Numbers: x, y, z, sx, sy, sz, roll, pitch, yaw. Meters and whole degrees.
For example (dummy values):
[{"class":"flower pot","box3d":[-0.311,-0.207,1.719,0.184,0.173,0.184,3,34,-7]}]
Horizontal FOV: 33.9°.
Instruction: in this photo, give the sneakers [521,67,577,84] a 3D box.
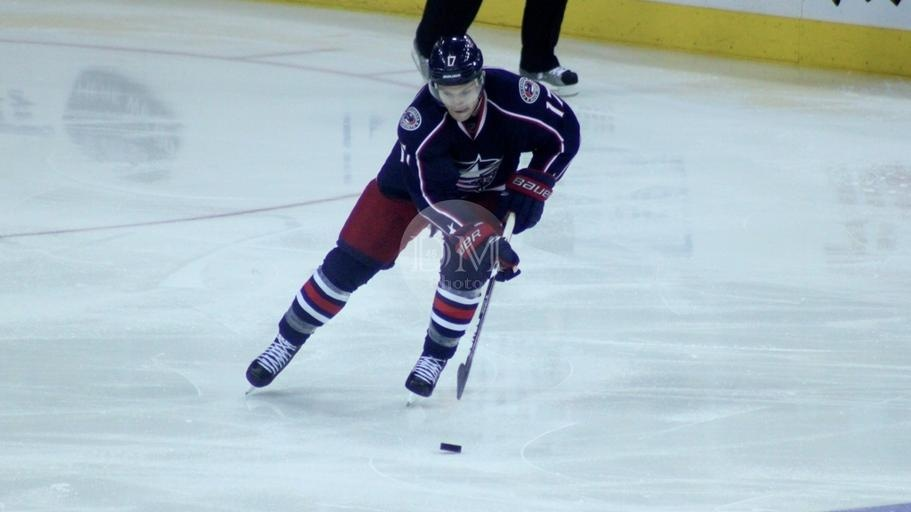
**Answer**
[{"class":"sneakers","box3d":[0.715,-1.380,11.501,0.493,0.150,0.158,5,20,31]}]

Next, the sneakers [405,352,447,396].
[{"class":"sneakers","box3d":[-0.167,0.666,8.326,0.166,0.234,0.244,15,8,5]}]

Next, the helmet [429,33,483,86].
[{"class":"helmet","box3d":[0.009,-1.057,8.140,0.300,0.288,0.231,13,9,-3]}]

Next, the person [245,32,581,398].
[{"class":"person","box3d":[-0.144,-0.178,8.283,1.297,2.106,0.449,15,9,1]}]
